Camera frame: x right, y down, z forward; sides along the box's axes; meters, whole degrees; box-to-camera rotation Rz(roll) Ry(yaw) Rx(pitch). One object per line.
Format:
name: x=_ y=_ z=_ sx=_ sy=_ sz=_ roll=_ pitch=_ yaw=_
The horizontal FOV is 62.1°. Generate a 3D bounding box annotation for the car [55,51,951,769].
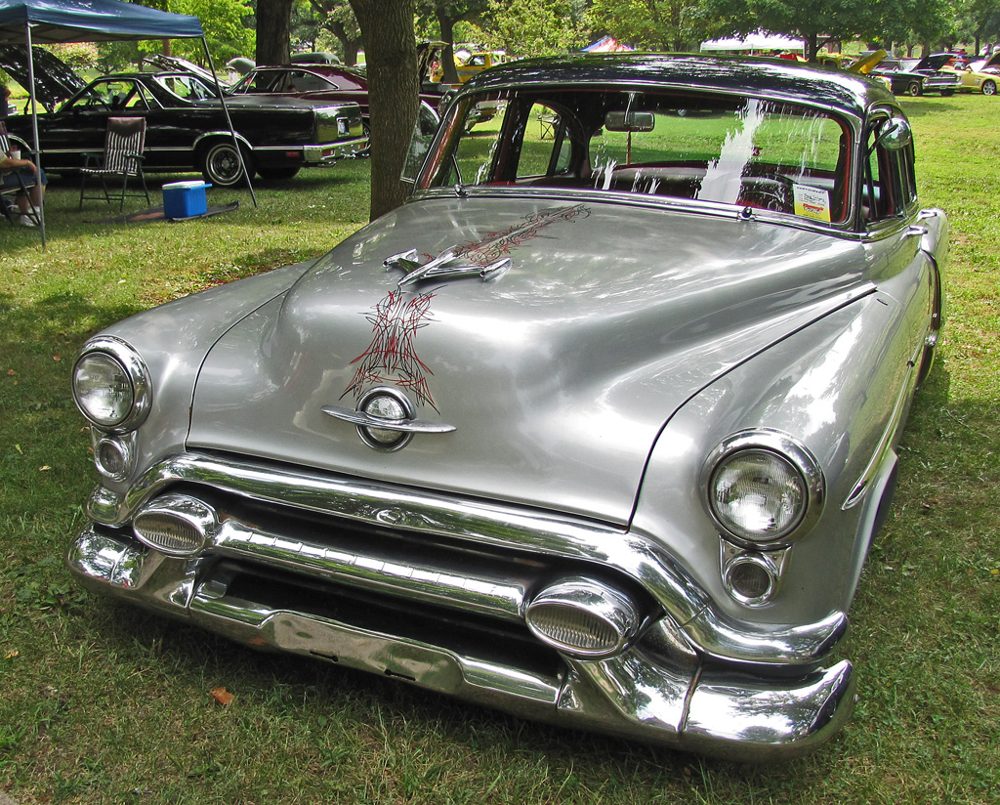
car: x=0.130 y=-0.350 z=3.188 sx=2.681 sy=2.075 sz=2.320 roll=9 pitch=20 yaw=24

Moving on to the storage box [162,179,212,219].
storage box: x=-3.962 y=-2.595 z=10.594 sx=0.494 sy=0.378 sz=0.628 roll=16 pitch=26 yaw=41

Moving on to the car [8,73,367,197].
car: x=-4.582 y=-4.121 z=12.562 sx=5.271 sy=1.260 sz=1.932 roll=5 pitch=20 yaw=10
